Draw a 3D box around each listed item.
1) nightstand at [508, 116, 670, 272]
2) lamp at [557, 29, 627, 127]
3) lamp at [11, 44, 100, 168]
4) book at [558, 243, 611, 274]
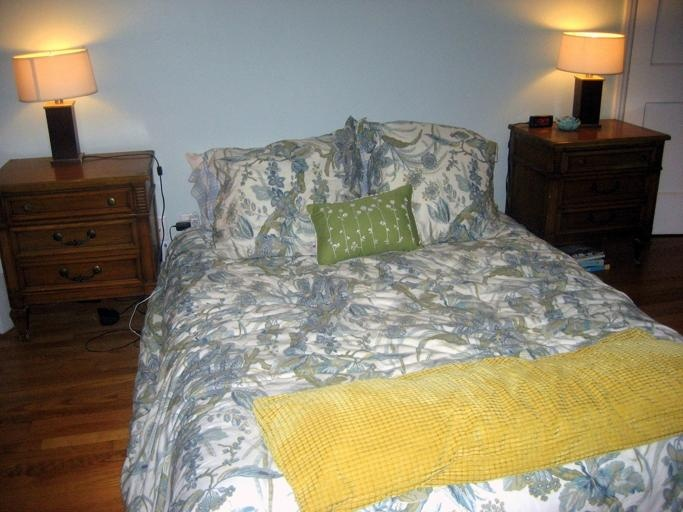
[{"bbox_3d":[1.581,-0.469,3.466,0.796,0.695,0.580,-7,23,-10],"label":"nightstand"},{"bbox_3d":[1.513,-1.111,3.304,0.361,0.581,0.351,-2,18,5],"label":"lamp"},{"bbox_3d":[-1.516,-0.820,2.877,0.371,0.601,0.354,-11,19,-21],"label":"lamp"},{"bbox_3d":[1.536,0.014,3.318,0.288,0.065,0.280,2,20,11],"label":"book"}]
